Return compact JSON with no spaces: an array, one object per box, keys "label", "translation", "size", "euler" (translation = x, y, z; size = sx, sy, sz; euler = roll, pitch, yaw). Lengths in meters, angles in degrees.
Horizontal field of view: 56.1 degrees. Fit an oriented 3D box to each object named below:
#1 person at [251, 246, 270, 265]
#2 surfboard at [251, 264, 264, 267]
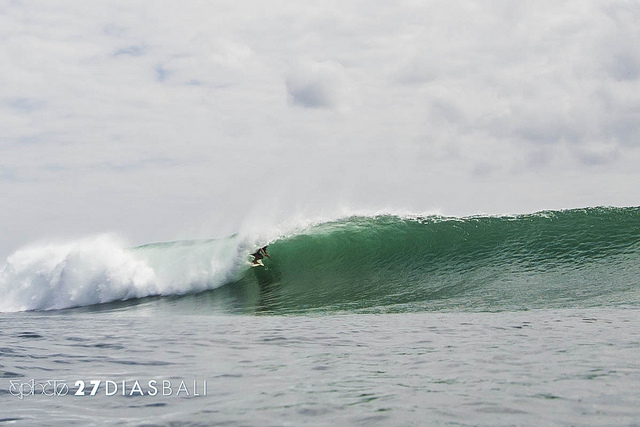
[{"label":"person","translation":[-2.507,1.745,24.626],"size":[0.608,0.664,0.270],"euler":[-7,-10,-21]},{"label":"surfboard","translation":[-2.530,2.104,24.225],"size":[0.502,0.079,0.179],"euler":[-2,12,-5]}]
